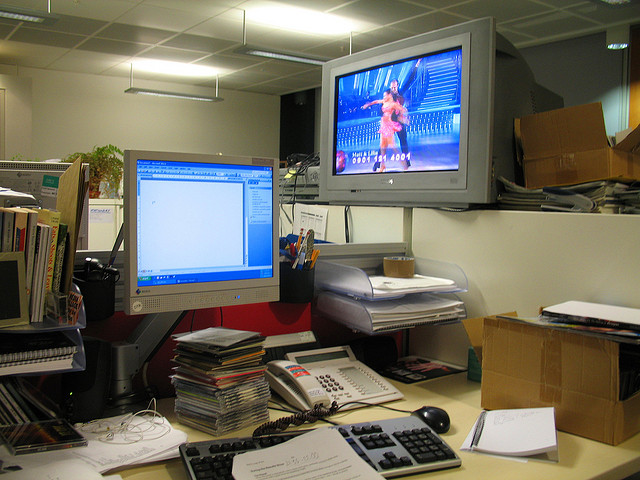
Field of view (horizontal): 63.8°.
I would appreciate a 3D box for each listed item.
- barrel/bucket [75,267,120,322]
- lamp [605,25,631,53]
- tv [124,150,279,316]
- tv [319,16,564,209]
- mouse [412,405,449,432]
[{"bbox_3d":[-0.605,0.148,1.406,0.127,0.174,0.137,-1,-3,0],"label":"barrel/bucket"},{"bbox_3d":[3.052,-2.055,5.237,0.148,0.261,0.267,9,-2,-38],"label":"lamp"},{"bbox_3d":[-0.341,-0.024,1.435,0.477,0.450,0.052,-2,4,-29],"label":"tv"},{"bbox_3d":[0.466,-0.387,2.134,0.837,0.503,0.879,4,3,2],"label":"tv"},{"bbox_3d":[0.302,0.461,1.343,0.046,0.025,0.075,-1,12,-28],"label":"mouse"}]
